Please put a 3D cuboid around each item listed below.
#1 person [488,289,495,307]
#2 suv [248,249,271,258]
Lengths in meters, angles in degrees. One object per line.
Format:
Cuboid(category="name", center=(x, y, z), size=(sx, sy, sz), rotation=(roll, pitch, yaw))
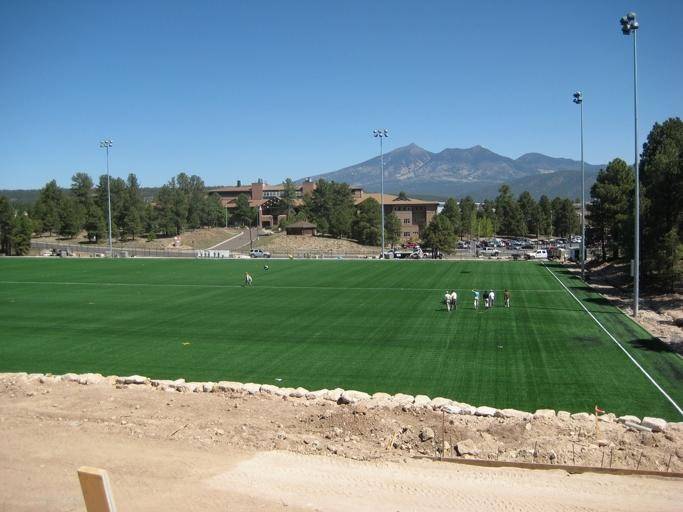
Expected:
Cuboid(category="person", center=(12.024, 3.286, 48.486), size=(0.357, 1.321, 3.117), rotation=(2, 8, 17))
Cuboid(category="suv", center=(-14.652, -0.264, 109.777), size=(3.246, 1.455, 1.952), rotation=(-2, 6, 11))
